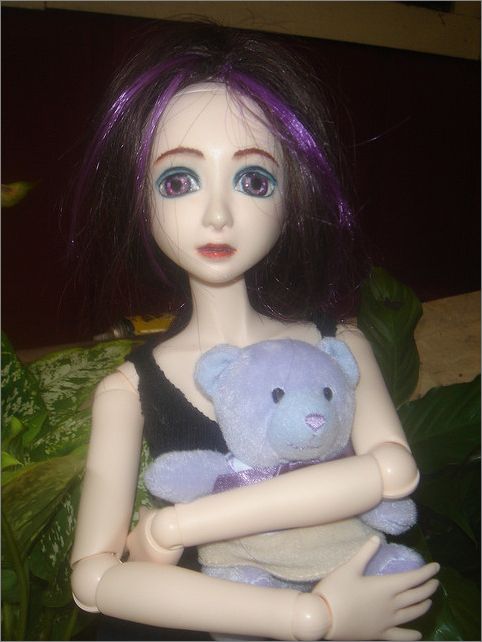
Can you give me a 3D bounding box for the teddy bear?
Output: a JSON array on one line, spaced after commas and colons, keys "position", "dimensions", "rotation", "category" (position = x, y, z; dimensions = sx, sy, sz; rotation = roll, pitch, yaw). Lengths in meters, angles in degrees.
[{"position": [0.062, 0.276, 1.040], "dimensions": [0.517, 0.432, 0.282], "rotation": [0, 6, -20], "category": "teddy bear"}]
